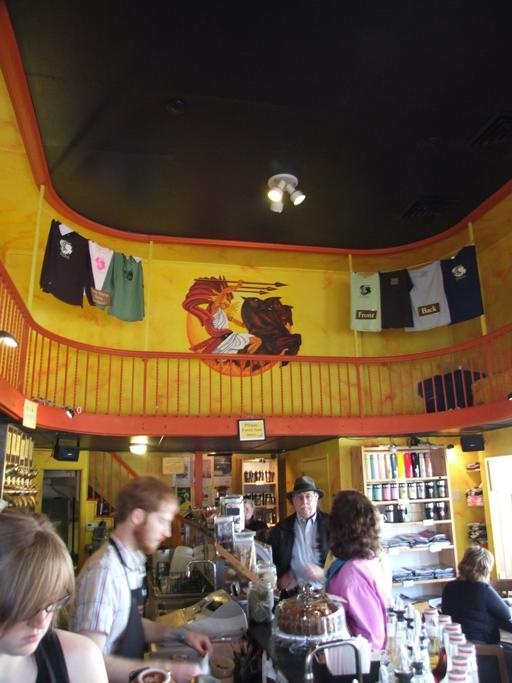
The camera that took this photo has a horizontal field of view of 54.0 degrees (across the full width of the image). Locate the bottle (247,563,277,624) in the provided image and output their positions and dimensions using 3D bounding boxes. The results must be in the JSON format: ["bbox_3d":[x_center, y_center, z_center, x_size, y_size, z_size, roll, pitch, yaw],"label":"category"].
[{"bbox_3d":[-0.007,1.245,2.509,0.182,0.295,0.187,-1,-10,0],"label":"bottle"}]

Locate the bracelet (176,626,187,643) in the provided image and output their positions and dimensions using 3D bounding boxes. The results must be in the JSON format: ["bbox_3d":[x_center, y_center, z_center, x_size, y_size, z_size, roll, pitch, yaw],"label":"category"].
[{"bbox_3d":[-0.304,1.188,2.038,0.056,0.054,0.056,-5,5,-13],"label":"bracelet"}]

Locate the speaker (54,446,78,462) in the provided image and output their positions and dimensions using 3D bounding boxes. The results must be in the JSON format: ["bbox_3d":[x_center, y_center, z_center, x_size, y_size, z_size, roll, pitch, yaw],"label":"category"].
[{"bbox_3d":[-2.272,1.348,6.048,0.232,0.151,0.407,1,-16,-3],"label":"speaker"}]

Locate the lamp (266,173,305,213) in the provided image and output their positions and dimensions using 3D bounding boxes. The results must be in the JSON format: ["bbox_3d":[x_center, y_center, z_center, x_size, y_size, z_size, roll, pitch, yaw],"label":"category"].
[{"bbox_3d":[0.361,-1.884,6.644,0.461,0.596,0.848,0,-16,0],"label":"lamp"}]

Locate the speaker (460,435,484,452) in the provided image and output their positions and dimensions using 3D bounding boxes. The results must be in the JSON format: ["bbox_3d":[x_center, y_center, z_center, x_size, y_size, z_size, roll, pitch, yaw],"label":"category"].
[{"bbox_3d":[2.952,1.382,6.862,0.243,0.205,0.130,1,-8,4],"label":"speaker"}]

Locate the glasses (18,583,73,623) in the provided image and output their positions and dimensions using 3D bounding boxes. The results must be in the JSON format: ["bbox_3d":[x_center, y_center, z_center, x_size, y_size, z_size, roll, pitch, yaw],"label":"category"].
[{"bbox_3d":[-0.361,0.447,0.859,0.073,0.022,0.070,8,-9,17],"label":"glasses"}]
